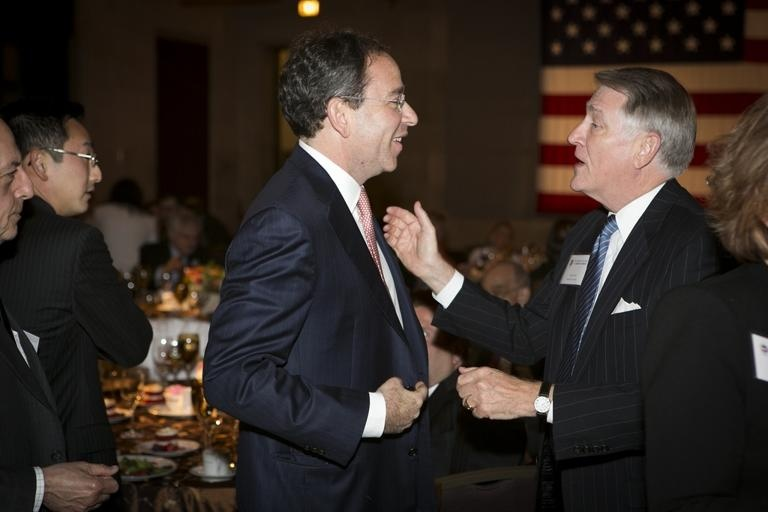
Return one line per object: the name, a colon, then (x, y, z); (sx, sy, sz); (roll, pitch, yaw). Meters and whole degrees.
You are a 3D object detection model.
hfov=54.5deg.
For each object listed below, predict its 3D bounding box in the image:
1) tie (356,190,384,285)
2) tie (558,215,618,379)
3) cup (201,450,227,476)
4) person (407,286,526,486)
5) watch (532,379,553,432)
tie: (-0.051, -0.095, 2.676); (0.057, 0.408, 0.047); (-32, -33, 34)
tie: (0.748, 0.172, 2.720); (0.068, 0.663, 0.068); (9, -25, 32)
cup: (-0.674, 0.829, 2.961); (0.093, 0.101, 0.096); (-1, -5, 0)
person: (0.229, 0.598, 3.451); (0.705, 0.795, 0.554); (-1, -1, -3)
watch: (0.569, 0.541, 2.619); (0.068, 0.115, 0.107); (3, -29, 29)
